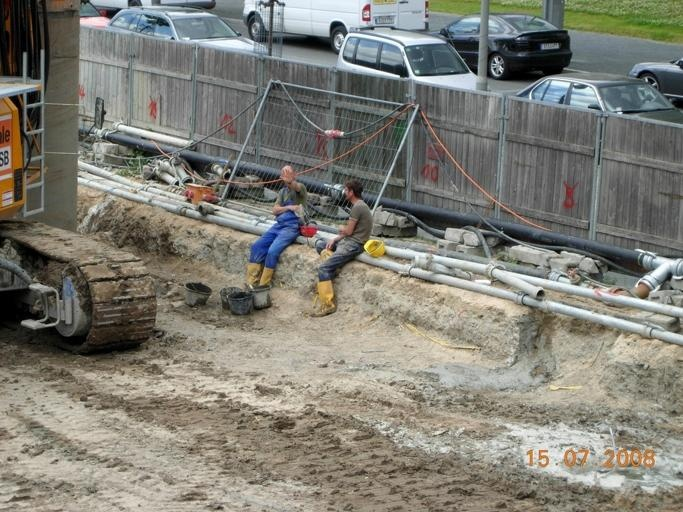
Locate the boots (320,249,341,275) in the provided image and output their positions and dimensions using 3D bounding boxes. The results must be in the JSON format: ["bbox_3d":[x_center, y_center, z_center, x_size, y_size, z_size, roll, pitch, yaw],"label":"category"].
[{"bbox_3d":[-0.119,0.103,12.472,0.303,0.359,0.329,8,15,0],"label":"boots"}]

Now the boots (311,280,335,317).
[{"bbox_3d":[-0.206,0.541,12.509,0.325,0.491,0.392,7,15,-1],"label":"boots"}]

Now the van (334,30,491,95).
[{"bbox_3d":[1.492,-3.490,17.925,2.733,1.470,1.681,17,31,34],"label":"van"}]

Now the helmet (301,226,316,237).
[{"bbox_3d":[-0.443,-0.327,13.127,0.167,0.095,0.168,0,5,35],"label":"helmet"}]

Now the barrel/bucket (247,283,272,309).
[{"bbox_3d":[-1.039,0.580,12.796,0.327,0.297,0.259,-1,10,18],"label":"barrel/bucket"}]

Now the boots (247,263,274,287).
[{"bbox_3d":[-1.124,0.271,13.111,0.328,0.255,0.352,3,-3,14],"label":"boots"}]

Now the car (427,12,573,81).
[{"bbox_3d":[3.554,-5.044,22.376,1.429,0.948,2.948,-13,25,-33],"label":"car"}]

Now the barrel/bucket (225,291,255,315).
[{"bbox_3d":[-1.325,0.648,12.552,0.300,0.210,0.310,-1,13,0],"label":"barrel/bucket"}]

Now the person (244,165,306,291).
[{"bbox_3d":[-0.877,-0.414,13.077,0.570,1.684,0.821,17,18,30],"label":"person"}]

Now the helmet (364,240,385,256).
[{"bbox_3d":[0.440,-0.103,12.422,0.186,0.127,0.256,-30,29,-5],"label":"helmet"}]

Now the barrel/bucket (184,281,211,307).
[{"bbox_3d":[-1.890,0.538,12.830,0.349,0.209,0.319,19,20,-7],"label":"barrel/bucket"}]

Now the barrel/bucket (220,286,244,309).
[{"bbox_3d":[-1.448,0.561,12.702,0.309,0.180,0.294,2,13,0],"label":"barrel/bucket"}]
